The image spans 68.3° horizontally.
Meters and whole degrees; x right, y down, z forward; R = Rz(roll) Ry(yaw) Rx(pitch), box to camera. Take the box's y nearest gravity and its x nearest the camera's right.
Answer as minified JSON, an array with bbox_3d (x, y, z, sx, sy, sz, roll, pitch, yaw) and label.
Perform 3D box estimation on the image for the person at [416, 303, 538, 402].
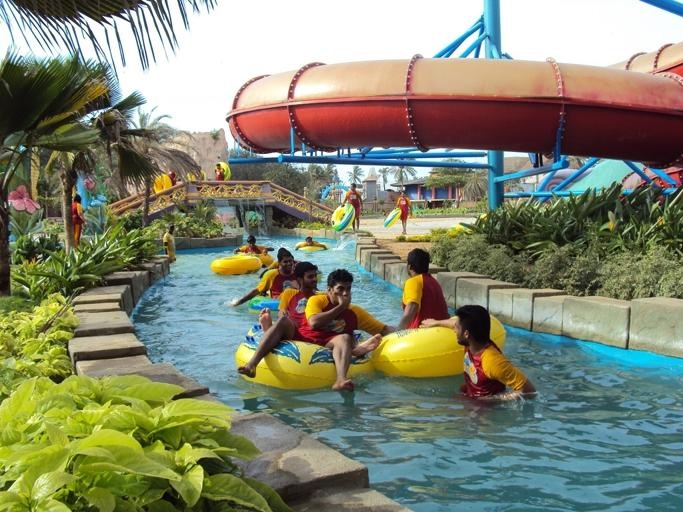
[{"bbox_3d":[1.294,1.054,4.755,0.779,1.076,1.195,-3,2,-22],"label":"person"}]

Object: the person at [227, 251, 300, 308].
[{"bbox_3d":[-1.623,0.478,9.873,2.296,0.660,0.663,-10,8,27],"label":"person"}]

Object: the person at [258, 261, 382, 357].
[{"bbox_3d":[-0.187,0.744,5.517,1.711,0.940,0.926,11,-18,-14],"label":"person"}]

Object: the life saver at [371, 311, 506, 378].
[{"bbox_3d":[0.969,1.120,5.778,0.985,0.351,1.020,-15,-8,29],"label":"life saver"}]

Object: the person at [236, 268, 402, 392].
[{"bbox_3d":[-0.057,0.761,5.437,1.863,1.059,0.898,8,-2,-7],"label":"person"}]

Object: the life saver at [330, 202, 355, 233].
[{"bbox_3d":[0.207,-1.883,23.455,0.383,1.179,1.247,34,-48,-24],"label":"life saver"}]

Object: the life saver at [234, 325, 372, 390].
[{"bbox_3d":[-0.470,1.107,5.369,1.470,0.473,0.599,1,6,14],"label":"life saver"}]

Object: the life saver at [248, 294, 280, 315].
[{"bbox_3d":[-1.330,0.822,8.640,0.515,0.165,0.494,0,1,-37],"label":"life saver"}]
